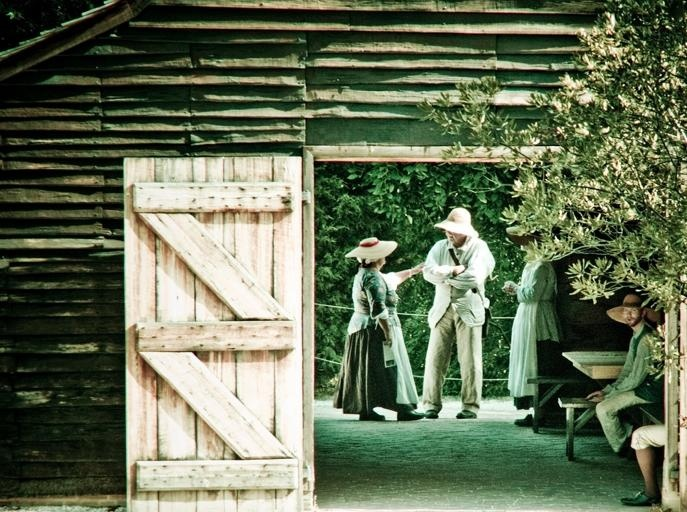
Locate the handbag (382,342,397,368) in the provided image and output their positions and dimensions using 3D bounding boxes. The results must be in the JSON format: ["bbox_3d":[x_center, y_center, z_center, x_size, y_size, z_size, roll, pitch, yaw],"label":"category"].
[{"bbox_3d":[0.432,0.945,15.911,0.097,0.232,0.167,-4,-6,9],"label":"handbag"}]

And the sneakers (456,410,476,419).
[{"bbox_3d":[1.213,1.561,16.309,0.179,0.055,0.084,5,-1,-11],"label":"sneakers"}]

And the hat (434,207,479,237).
[{"bbox_3d":[1.090,-0.311,15.632,0.384,0.149,0.346,-2,12,-29],"label":"hat"}]

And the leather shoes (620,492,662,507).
[{"bbox_3d":[2.434,1.994,13.531,0.340,0.096,0.108,0,-6,10],"label":"leather shoes"}]

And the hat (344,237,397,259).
[{"bbox_3d":[0.231,-0.064,15.808,0.358,0.094,0.265,2,23,38],"label":"hat"}]

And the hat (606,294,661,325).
[{"bbox_3d":[2.604,0.481,14.709,0.361,0.154,0.456,-13,-28,29],"label":"hat"}]

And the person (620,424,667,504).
[{"bbox_3d":[2.488,1.707,13.505,0.473,0.663,0.316,-5,-6,28],"label":"person"}]

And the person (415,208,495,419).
[{"bbox_3d":[1.117,0.569,15.900,0.686,2.013,1.153,-2,-6,-3],"label":"person"}]
